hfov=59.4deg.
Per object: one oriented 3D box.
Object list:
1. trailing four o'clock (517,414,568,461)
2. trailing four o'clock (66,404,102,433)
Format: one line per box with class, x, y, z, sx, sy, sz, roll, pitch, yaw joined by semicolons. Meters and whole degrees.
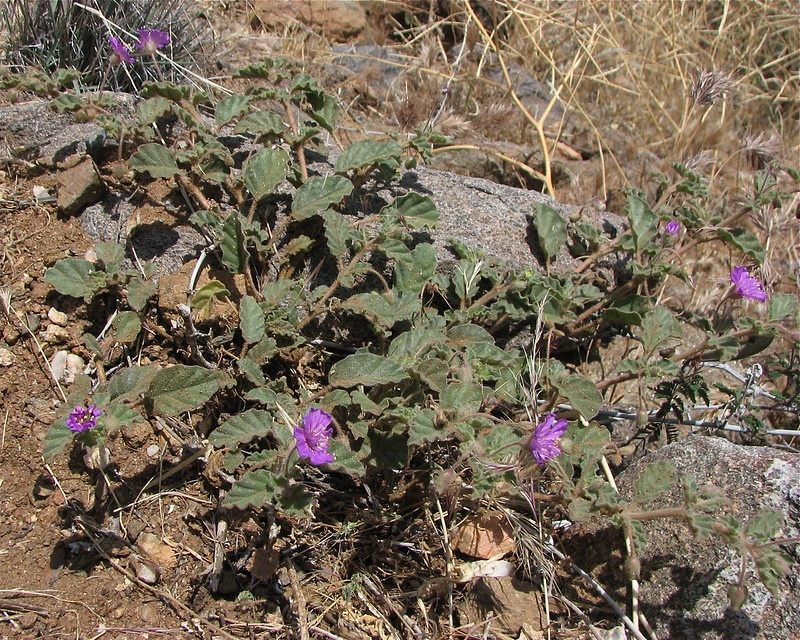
trailing four o'clock;0.504;0.421;2.464;0.152;0.174;0.097;19;9;-45
trailing four o'clock;-1.060;0.331;2.349;0.100;0.040;0.099;18;65;4
